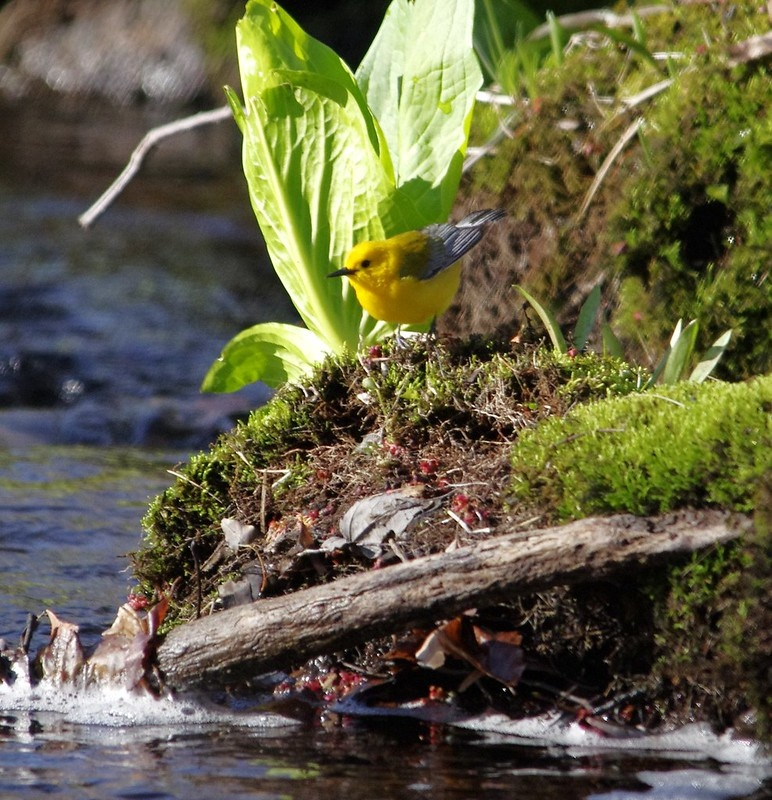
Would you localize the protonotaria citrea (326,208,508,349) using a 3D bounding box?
[{"bbox_3d":[0.133,-0.571,5.545,0.629,0.465,0.304,1,5,-35],"label":"protonotaria citrea"}]
